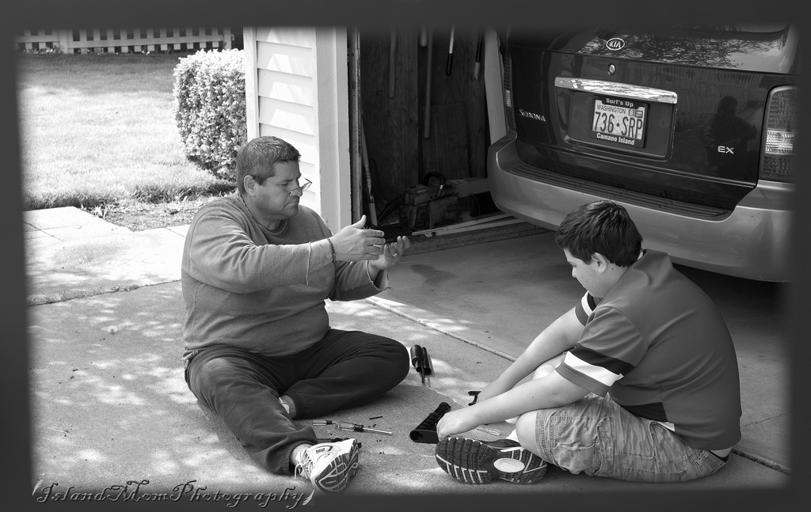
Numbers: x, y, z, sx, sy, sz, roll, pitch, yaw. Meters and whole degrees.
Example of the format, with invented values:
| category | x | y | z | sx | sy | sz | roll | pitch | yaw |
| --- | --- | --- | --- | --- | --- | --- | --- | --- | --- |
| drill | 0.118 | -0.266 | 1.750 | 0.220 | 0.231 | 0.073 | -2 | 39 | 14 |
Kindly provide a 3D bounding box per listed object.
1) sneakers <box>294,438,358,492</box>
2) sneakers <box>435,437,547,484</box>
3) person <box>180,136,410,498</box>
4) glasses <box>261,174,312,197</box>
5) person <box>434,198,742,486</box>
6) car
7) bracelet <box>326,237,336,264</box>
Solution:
| category | x | y | z | sx | sy | sz | roll | pitch | yaw |
| --- | --- | --- | --- | --- | --- | --- | --- | --- | --- |
| sneakers | -0.347 | 0.948 | 2.639 | 0.141 | 0.150 | 0.291 | -1 | -1 | -18 |
| sneakers | 0.396 | 0.950 | 2.664 | 0.548 | 0.199 | 0.239 | 8 | 1 | -4 |
| person | -0.541 | 0.153 | 3.108 | 1.263 | 1.551 | 1.045 | 13 | 19 | 43 |
| glasses | -0.596 | -0.386 | 3.210 | 0.163 | 0.092 | 0.297 | 6 | 13 | 24 |
| person | 0.861 | 0.410 | 2.845 | 1.345 | 1.156 | 1.157 | 1 | 9 | 36 |
| car | 1.608 | -0.787 | 3.938 | 1.410 | 1.241 | 2.541 | 23 | 38 | 39 |
| bracelet | -0.381 | -0.034 | 3.004 | 0.043 | 0.106 | 0.039 | -3 | 14 | -9 |
